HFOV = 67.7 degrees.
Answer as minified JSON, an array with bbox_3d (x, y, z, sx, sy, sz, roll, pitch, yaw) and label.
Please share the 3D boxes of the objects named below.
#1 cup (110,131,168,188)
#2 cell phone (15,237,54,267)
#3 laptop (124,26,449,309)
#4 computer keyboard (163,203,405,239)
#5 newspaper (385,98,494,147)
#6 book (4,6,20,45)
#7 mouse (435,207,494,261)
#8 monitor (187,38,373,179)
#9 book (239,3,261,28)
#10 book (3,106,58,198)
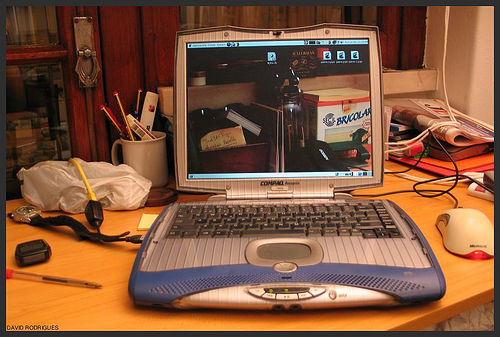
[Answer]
[{"bbox_3d":[-0.322,-0.022,1.077,0.177,0.143,0.111,-2,18,5],"label":"cup"},{"bbox_3d":[-0.454,0.171,0.777,0.065,0.038,0.063,-7,19,-26],"label":"cell phone"},{"bbox_3d":[0.053,-0.044,0.766,0.578,0.498,0.429,-2,17,2],"label":"laptop"},{"bbox_3d":[0.067,0.110,0.799,0.479,0.035,0.127,-2,16,2],"label":"computer keyboard"},{"bbox_3d":[0.635,-0.172,1.263,0.244,0.066,0.237,-4,31,-18],"label":"newspaper"},{"bbox_3d":[-0.651,-0.390,1.017,0.041,0.100,0.012,-12,20,-24],"label":"book"},{"bbox_3d":[0.439,0.140,0.821,0.121,0.082,0.148,-3,9,18],"label":"mouse"},{"bbox_3d":[0.067,-0.143,0.900,0.456,0.329,0.095,-2,18,2],"label":"monitor"},{"bbox_3d":[0.001,-0.504,1.235,0.077,0.067,0.023,-11,19,-26],"label":"book"},{"bbox_3d":[-0.645,-0.048,1.082,0.154,0.255,0.020,-11,19,-24],"label":"book"}]
